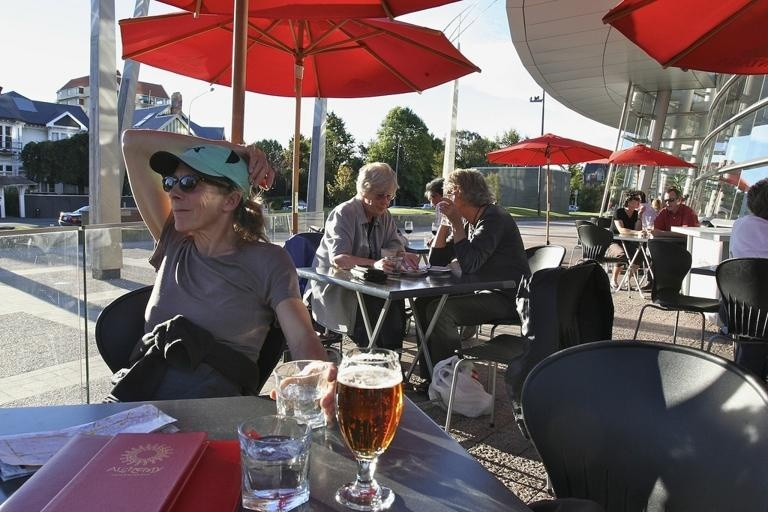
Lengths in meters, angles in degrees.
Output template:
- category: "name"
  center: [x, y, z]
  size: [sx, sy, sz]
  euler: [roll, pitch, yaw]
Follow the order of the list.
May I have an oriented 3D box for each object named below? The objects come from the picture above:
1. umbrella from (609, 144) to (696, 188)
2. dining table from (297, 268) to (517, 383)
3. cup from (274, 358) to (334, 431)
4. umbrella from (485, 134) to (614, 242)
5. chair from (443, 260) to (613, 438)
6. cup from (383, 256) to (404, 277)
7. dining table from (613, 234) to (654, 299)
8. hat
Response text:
- category: "umbrella"
  center: [5.446, -2.002, 11.324]
  size: [1.536, 0.625, 1.555]
  euler: [13, 13, 34]
- category: "dining table"
  center: [0.088, 0.213, 4.011]
  size: [1.032, 0.713, 1.032]
  euler: [-5, 12, -38]
- category: "cup"
  center: [-0.242, 0.406, 1.667]
  size: [0.164, 0.177, 0.194]
  euler: [0, -1, 1]
- category: "umbrella"
  center: [3.082, -1.243, 10.221]
  size: [2.001, 1.930, 2.016]
  euler: [0, -3, -8]
- category: "chair"
  center: [0.970, 0.506, 3.470]
  size: [0.945, 1.484, 0.900]
  euler: [2, 2, 35]
- category: "cup"
  center: [0.070, 0.076, 4.055]
  size: [0.127, 0.136, 0.125]
  euler: [0, 5, 0]
- category: "dining table"
  center: [3.978, 0.154, 8.814]
  size: [0.965, 1.004, 0.774]
  euler: [0, -1, 23]
- category: "hat"
  center: [-0.801, -0.418, 2.534]
  size: [0.388, 0.201, 0.264]
  euler: [24, -15, -37]
